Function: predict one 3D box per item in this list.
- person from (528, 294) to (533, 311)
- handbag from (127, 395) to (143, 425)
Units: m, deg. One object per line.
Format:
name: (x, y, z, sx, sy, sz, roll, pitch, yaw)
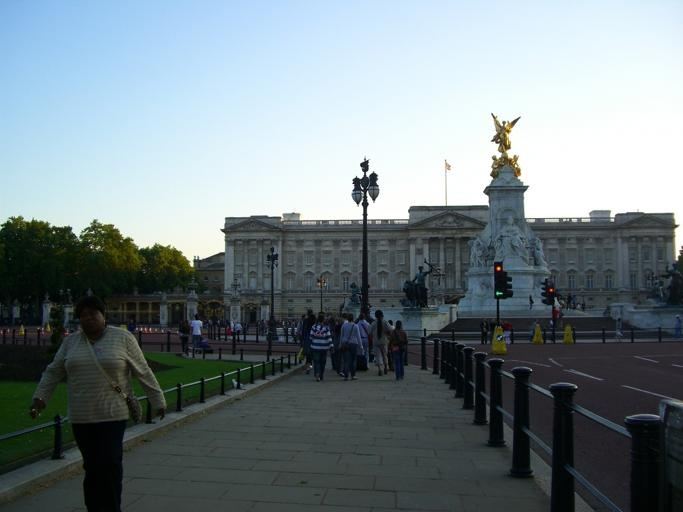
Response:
person: (13.783, 3.319, 57.914, 0.321, 1.068, 0.606, -4, -4, 14)
handbag: (-2.603, 1.929, 9.928, 0.211, 0.365, 0.090, -9, 1, -42)
